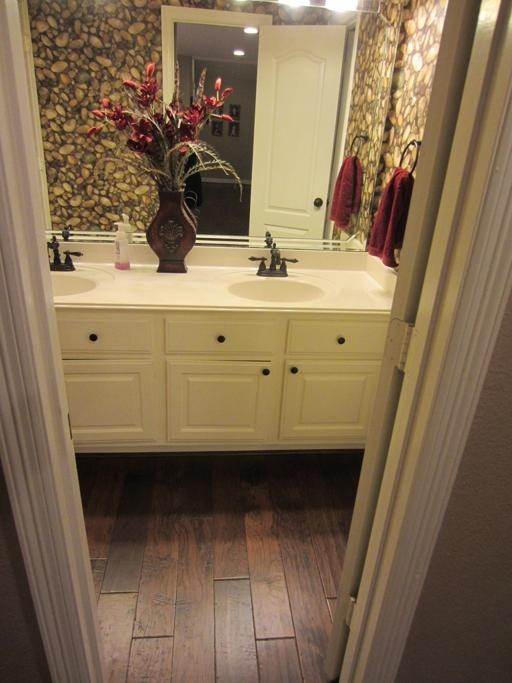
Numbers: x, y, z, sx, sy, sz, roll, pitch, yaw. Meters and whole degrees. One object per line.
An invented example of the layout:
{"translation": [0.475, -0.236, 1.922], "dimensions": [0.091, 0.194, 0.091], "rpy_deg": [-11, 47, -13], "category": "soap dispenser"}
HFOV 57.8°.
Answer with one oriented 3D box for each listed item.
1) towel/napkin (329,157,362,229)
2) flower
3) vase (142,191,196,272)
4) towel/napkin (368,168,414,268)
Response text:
{"translation": [0.416, -0.705, 2.171], "dimensions": [0.134, 0.278, 0.060], "rpy_deg": [15, 27, 32], "category": "towel/napkin"}
{"translation": [-0.340, -0.870, 2.018], "dimensions": [0.522, 0.474, 0.503], "rpy_deg": [0, -4, 39], "category": "flower"}
{"translation": [-0.383, -0.505, 2.069], "dimensions": [0.189, 0.356, 0.110], "rpy_deg": [-4, 35, -15], "category": "vase"}
{"translation": [0.529, -0.498, 1.859], "dimensions": [0.122, 0.364, 0.135], "rpy_deg": [10, 26, 13], "category": "towel/napkin"}
